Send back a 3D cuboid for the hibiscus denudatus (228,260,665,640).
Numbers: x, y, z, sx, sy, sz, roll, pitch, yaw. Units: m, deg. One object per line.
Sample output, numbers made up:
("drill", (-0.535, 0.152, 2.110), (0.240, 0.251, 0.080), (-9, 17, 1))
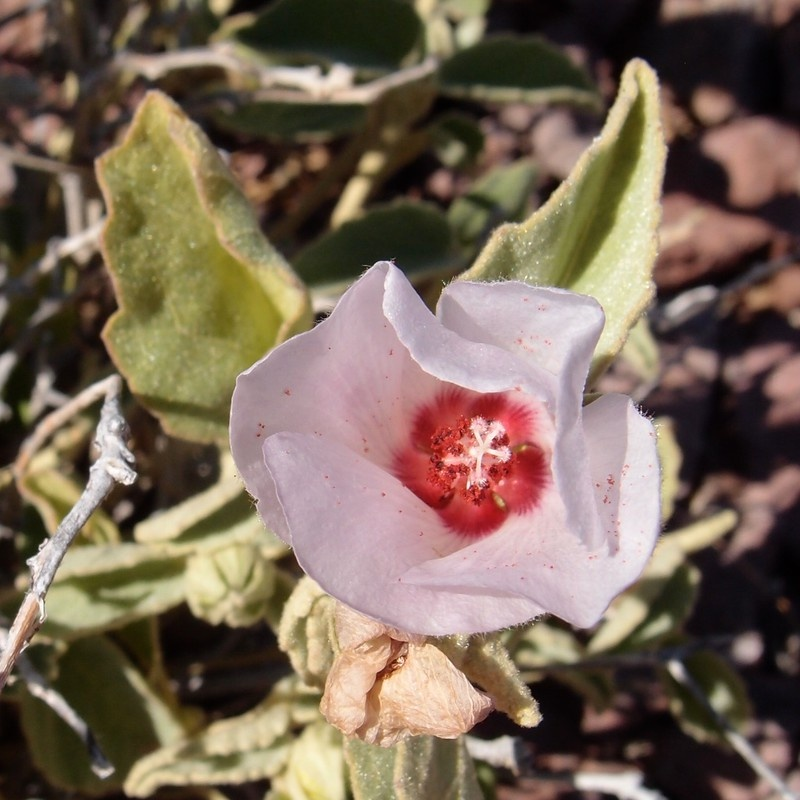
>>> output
("hibiscus denudatus", (0.053, 0.050, 0.841), (0.353, 0.337, 0.157), (-19, 35, 33))
